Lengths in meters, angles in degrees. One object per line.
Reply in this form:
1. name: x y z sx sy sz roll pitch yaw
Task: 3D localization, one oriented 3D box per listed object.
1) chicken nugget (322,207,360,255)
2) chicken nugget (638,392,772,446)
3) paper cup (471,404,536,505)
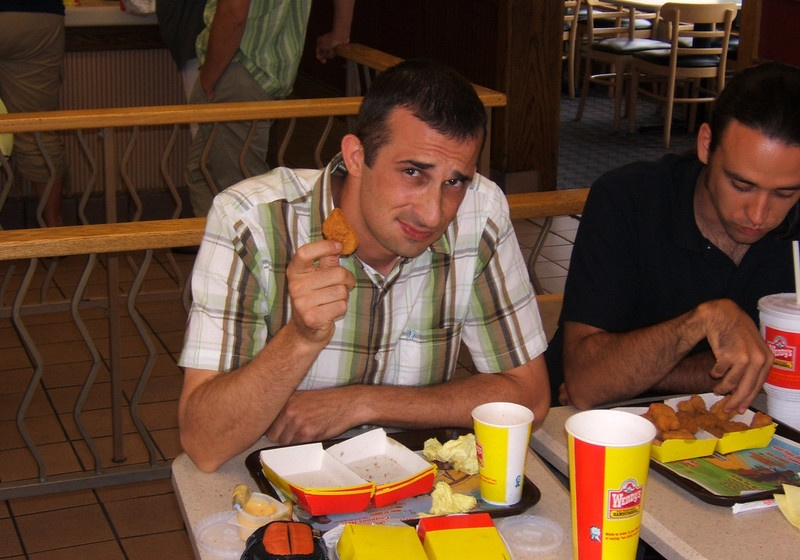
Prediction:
1. chicken nugget: -0.153 -0.114 1.500 0.066 0.094 0.134 -5 20 -18
2. chicken nugget: 0.731 0.334 1.486 0.243 0.033 0.148 0 24 -1
3. paper cup: 0.200 0.355 1.289 0.119 0.196 0.084 4 20 7
